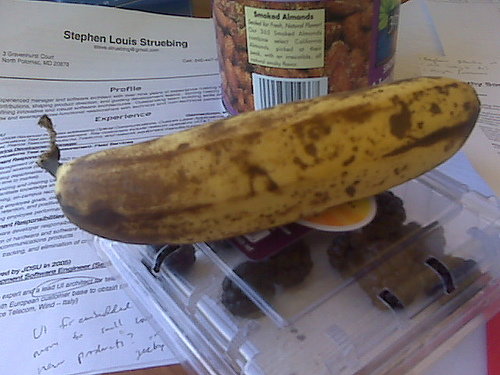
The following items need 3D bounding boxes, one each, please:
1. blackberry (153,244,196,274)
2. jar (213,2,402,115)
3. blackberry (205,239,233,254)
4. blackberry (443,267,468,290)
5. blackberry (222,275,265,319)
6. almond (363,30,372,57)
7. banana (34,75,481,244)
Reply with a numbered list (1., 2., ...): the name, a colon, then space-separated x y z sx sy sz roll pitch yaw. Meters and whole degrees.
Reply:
1. blackberry: -0.089 0.083 0.520 0.037 0.025 0.038 19 12 12
2. jar: 0.059 -0.185 0.606 0.182 0.179 0.172 3 37 -3
3. blackberry: -0.036 0.067 0.521 0.020 0.006 0.022 -30 65 -24
4. blackberry: 0.226 0.101 0.489 0.020 0.006 0.026 -7 52 -4
5. blackberry: -0.014 0.116 0.498 0.047 0.034 0.054 -2 15 -6
6. almond: 0.151 -0.184 0.577 0.006 0.020 0.015 17 47 44
7. banana: 0.020 -0.026 0.460 0.453 0.142 0.086 -20 17 5
